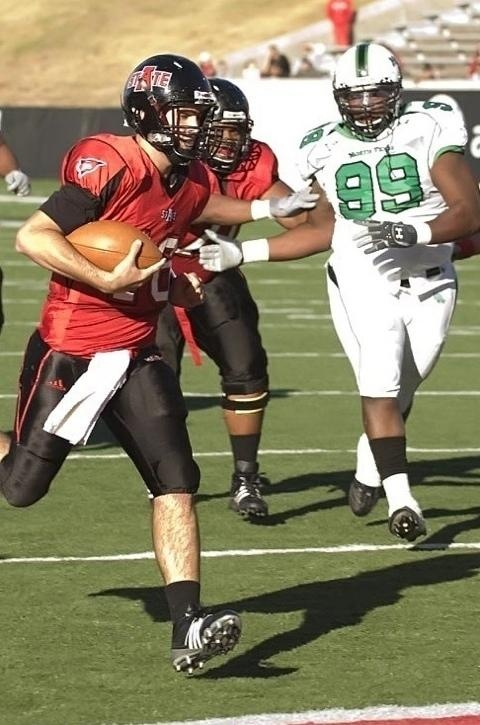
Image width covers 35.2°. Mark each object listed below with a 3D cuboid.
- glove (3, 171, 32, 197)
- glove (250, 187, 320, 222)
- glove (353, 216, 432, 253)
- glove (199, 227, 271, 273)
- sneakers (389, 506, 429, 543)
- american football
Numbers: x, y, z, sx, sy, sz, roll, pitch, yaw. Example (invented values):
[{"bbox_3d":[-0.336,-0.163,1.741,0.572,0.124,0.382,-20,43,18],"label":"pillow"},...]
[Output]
[{"bbox_3d":[-1.413,-1.166,4.897,0.164,0.076,0.197,21,-21,18],"label":"glove"},{"bbox_3d":[0.193,-0.667,3.189,0.242,0.070,0.246,-12,9,-35],"label":"glove"},{"bbox_3d":[0.547,-0.454,2.715,0.224,0.129,0.071,-6,-18,-9],"label":"glove"},{"bbox_3d":[-0.025,-0.448,3.117,0.286,0.145,0.095,-4,-15,2],"label":"glove"},{"bbox_3d":[0.531,0.525,2.423,0.103,0.147,0.083,-7,26,6],"label":"sneakers"},{"bbox_3d":[-0.317,-0.299,1.946,0.218,0.105,0.123,9,2,-5],"label":"american football"}]
